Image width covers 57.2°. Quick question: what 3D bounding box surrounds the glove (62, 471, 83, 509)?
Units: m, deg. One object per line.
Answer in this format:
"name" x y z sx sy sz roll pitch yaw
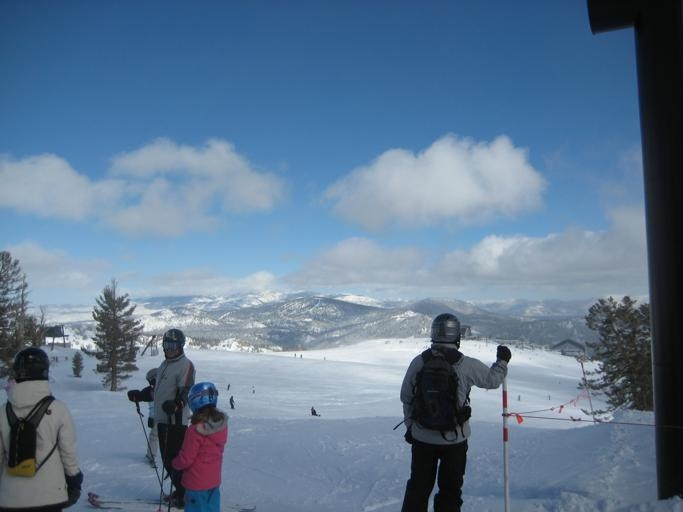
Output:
"glove" -4.824 4.233 11.365 0.402 0.585 0.215 -4 -10 20

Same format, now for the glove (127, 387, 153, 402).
"glove" -4.500 3.092 13.923 0.472 0.249 0.368 -2 -11 -9

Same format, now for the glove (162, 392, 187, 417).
"glove" -3.573 3.186 13.409 0.480 0.347 0.784 6 -7 -17

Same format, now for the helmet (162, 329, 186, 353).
"helmet" -3.740 1.860 14.070 0.428 0.567 0.526 1 7 -8
